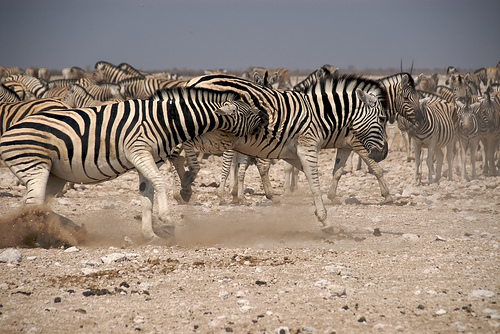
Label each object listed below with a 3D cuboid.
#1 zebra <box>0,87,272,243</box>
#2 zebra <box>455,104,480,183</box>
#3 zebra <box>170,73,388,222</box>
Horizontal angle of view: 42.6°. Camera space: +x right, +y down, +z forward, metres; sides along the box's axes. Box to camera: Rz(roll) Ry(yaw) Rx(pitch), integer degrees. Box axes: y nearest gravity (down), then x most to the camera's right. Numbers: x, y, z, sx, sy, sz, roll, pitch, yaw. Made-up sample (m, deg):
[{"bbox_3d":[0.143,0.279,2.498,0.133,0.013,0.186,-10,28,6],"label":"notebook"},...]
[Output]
[{"bbox_3d":[-1.978,-0.039,10.508,3.966,2.452,0.851,-2,11,-11],"label":"zebra"},{"bbox_3d":[6.056,-0.780,17.644,0.764,2.147,3.078,1,5,23],"label":"zebra"},{"bbox_3d":[0.475,-0.454,11.485,4.151,2.697,1.086,6,0,-1],"label":"zebra"}]
